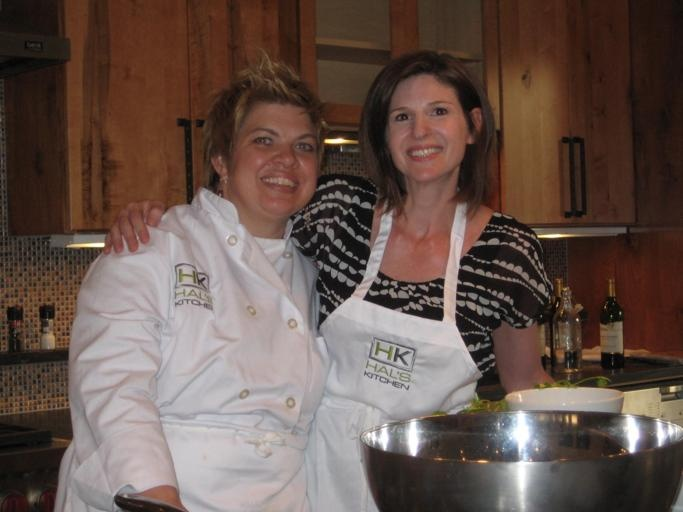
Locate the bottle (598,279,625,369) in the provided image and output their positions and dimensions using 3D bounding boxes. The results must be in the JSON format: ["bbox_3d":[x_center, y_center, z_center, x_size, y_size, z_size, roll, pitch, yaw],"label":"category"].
[{"bbox_3d":[1.172,0.299,3.307,0.092,0.385,0.195,-1,-4,19],"label":"bottle"}]

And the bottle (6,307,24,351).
[{"bbox_3d":[-1.172,0.267,2.744,0.054,0.163,0.100,2,-4,-23],"label":"bottle"}]
